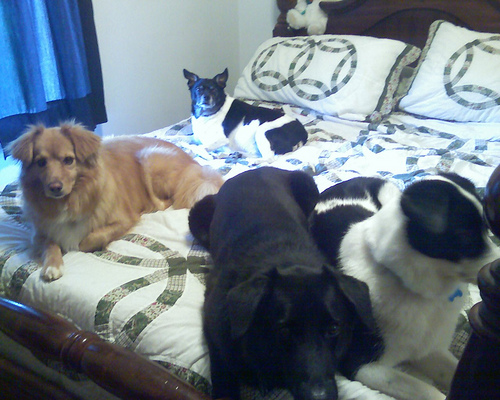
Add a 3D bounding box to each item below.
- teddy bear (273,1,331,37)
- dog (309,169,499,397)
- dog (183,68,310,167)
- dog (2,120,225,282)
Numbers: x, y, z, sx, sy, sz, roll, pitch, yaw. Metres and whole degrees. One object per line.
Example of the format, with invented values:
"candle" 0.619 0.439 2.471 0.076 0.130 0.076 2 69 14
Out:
"teddy bear" 0.516 -1.703 4.458 0.410 0.391 0.415 -10 15 -36
"dog" 0.494 0.174 1.522 0.449 0.592 0.707 -6 29 -18
"dog" -0.052 -0.597 3.485 0.946 0.577 0.595 11 3 18
"dog" -0.705 -0.126 2.287 0.692 0.498 1.050 24 34 34
